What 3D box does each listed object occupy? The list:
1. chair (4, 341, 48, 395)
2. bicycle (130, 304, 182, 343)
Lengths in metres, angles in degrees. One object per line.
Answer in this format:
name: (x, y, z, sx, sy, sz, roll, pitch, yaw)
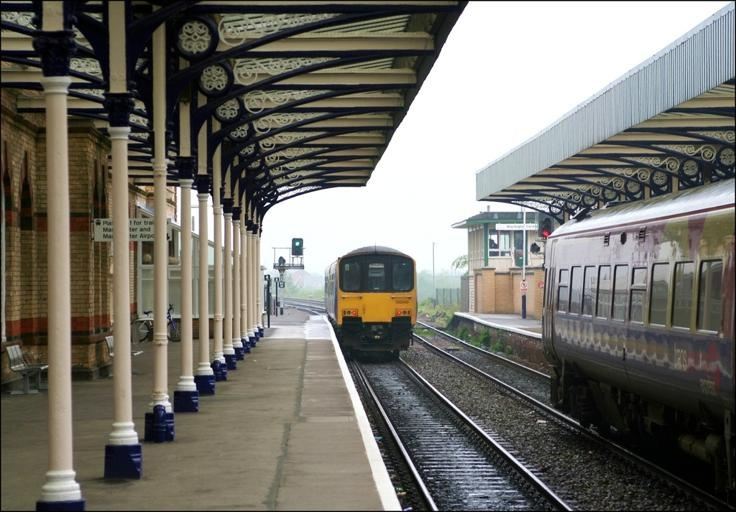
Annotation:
chair: (-7.563, 2.430, 15.340, 0.601, 0.953, 1.495, -7, -2, -17)
bicycle: (-8.505, 2.755, 27.720, 2.253, 1.585, 1.388, 3, -28, -21)
